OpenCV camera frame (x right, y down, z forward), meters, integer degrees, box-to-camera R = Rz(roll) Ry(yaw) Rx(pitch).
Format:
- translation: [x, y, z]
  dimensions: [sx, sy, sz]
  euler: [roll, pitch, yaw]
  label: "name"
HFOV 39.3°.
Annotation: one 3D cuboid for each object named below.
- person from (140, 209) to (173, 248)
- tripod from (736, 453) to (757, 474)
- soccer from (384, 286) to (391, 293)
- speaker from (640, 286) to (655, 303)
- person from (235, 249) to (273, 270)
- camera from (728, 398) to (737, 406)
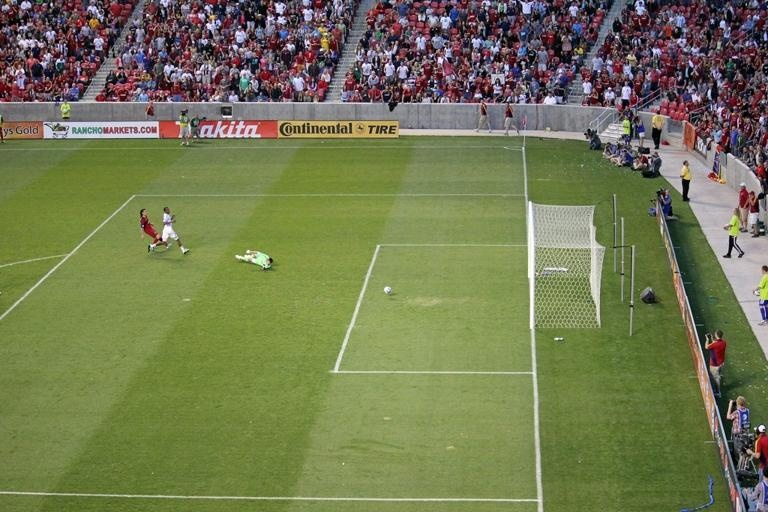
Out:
- translation: [-10.162, -1.181, 47.857]
  dimensions: [1.007, 1.799, 0.774]
  euler: [-17, 44, -14]
  label: "person"
- translation: [11.417, 6.492, 33.900]
  dimensions: [0.683, 0.692, 0.690]
  euler: [-1, 3, 9]
  label: "tripod"
- translation: [0.137, 1.343, 43.023]
  dimensions: [0.196, 0.234, 0.236]
  euler: [-1, 40, 4]
  label: "soccer"
- translation: [10.340, 1.528, 42.035]
  dimensions: [0.504, 0.239, 0.653]
  euler: [2, 12, 15]
  label: "speaker"
- translation: [-5.416, 0.053, 45.572]
  dimensions: [1.708, 0.565, 0.611]
  euler: [16, 26, 34]
  label: "person"
- translation: [11.332, 4.769, 34.864]
  dimensions: [0.281, 0.134, 0.380]
  euler: [1, 6, 15]
  label: "camera"
